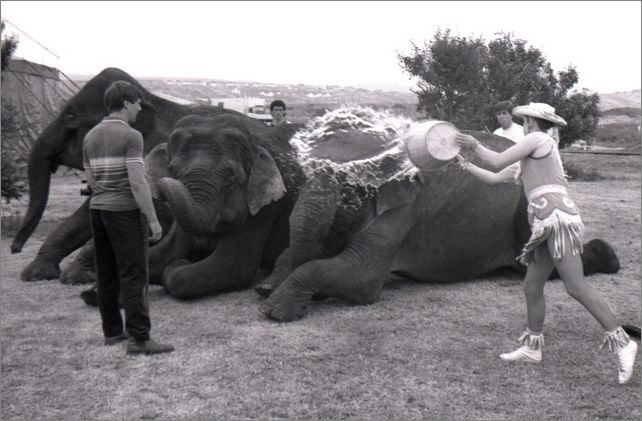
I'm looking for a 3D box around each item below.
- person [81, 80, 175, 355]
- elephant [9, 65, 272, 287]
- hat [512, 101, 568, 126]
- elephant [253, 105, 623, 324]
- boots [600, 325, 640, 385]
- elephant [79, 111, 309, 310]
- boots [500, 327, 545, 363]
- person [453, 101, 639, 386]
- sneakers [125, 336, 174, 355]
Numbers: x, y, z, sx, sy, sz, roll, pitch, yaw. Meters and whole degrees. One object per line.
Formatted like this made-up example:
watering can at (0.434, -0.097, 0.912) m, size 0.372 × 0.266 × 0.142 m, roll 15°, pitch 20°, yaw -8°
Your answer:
person at (-1.650, 0.045, 4.213) m, size 0.542 × 2.173 × 0.926 m, roll -7°, pitch 16°, yaw -25°
elephant at (-2.763, -0.459, 8.144) m, size 4.461 × 3.473 × 1.718 m, roll 2°, pitch -3°, yaw -13°
hat at (1.829, -0.813, 4.114) m, size 0.275 × 0.075 × 0.270 m, roll 18°, pitch -2°, yaw -40°
elephant at (1.421, -0.082, 5.824) m, size 4.163 × 2.242 × 1.591 m, roll -5°, pitch 17°, yaw -3°
boots at (2.281, 1.094, 3.833) m, size 0.208 × 0.392 × 0.203 m, roll 10°, pitch 18°, yaw 34°
elephant at (-1.141, -0.020, 6.343) m, size 1.676 × 1.977 × 3.787 m, roll 12°, pitch 7°, yaw 23°
boots at (1.637, 1.095, 4.084) m, size 0.331 × 0.238 × 0.188 m, roll 3°, pitch -6°, yaw 7°
person at (1.847, 0.182, 4.073) m, size 0.879 × 2.020 × 1.439 m, roll -10°, pitch 18°, yaw -34°
sneakers at (-1.421, 1.132, 4.222) m, size 0.418 × 0.185 × 0.142 m, roll -1°, pitch 2°, yaw -13°
